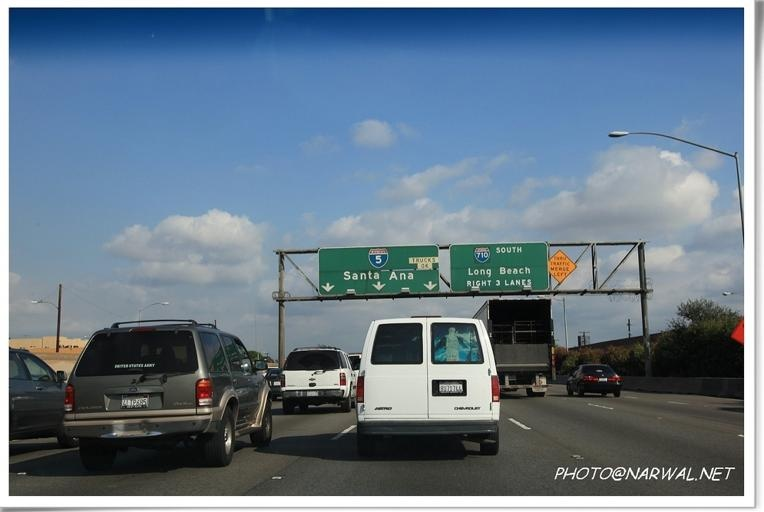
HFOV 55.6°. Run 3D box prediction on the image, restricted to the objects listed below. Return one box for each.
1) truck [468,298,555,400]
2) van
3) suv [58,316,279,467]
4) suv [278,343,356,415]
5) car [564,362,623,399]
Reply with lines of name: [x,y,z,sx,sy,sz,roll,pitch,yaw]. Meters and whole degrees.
truck: [5.233,3.509,28.089,1.945,3.122,5.963,0,-10,5]
van: [0.659,2.846,17.116,3.015,2.811,5.521,1,-6,-7]
suv: [-4.047,2.773,14.781,2.162,2.827,3.919,-7,-12,33]
suv: [-2.149,4.754,27.661,2.669,2.189,5.062,-1,-11,6]
car: [10.691,6.201,36.720,2.122,1.538,4.794,-1,-8,7]
